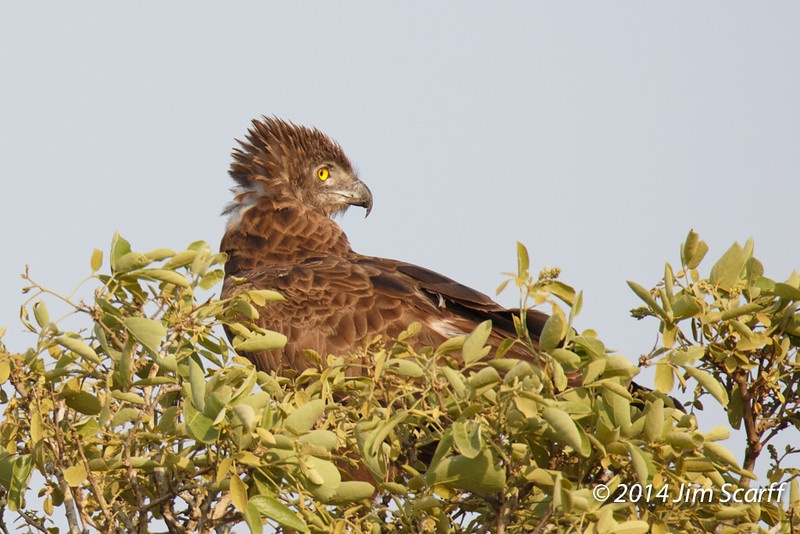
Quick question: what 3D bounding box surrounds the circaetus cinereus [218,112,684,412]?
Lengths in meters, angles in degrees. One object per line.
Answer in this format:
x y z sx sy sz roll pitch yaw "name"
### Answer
0.244 0.210 8.919 2.811 1.885 1.149 5 -4 6 "circaetus cinereus"
